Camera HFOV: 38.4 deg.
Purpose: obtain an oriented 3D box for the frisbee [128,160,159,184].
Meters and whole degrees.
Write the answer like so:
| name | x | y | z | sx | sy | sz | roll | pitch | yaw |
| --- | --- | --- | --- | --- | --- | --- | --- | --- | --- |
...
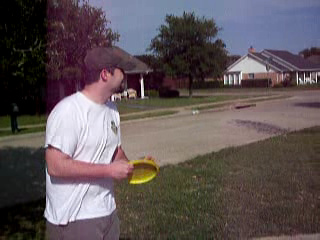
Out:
| name | x | y | z | sx | sy | sz | roll | pitch | yaw |
| --- | --- | --- | --- | --- | --- | --- | --- | --- | --- |
| frisbee | -0.234 | 0.753 | 6.638 | 0.421 | 0.421 | 0.457 | -3 | 6 | -5 |
